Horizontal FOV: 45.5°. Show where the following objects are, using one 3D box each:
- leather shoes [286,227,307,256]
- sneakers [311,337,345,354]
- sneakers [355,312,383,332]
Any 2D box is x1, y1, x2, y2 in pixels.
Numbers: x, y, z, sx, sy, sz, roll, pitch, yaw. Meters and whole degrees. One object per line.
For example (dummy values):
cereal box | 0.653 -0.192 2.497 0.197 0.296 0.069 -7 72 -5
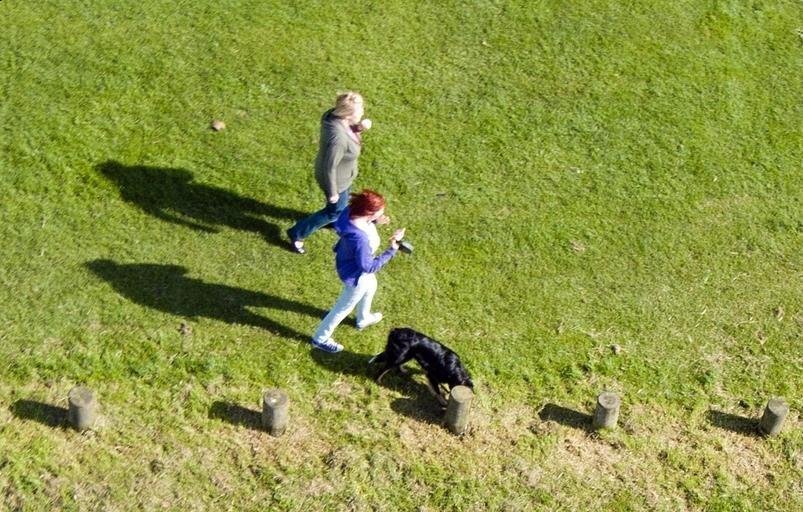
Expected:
leather shoes | -1.850 -0.266 16.683 0.270 0.485 0.207 -18 23 -9
sneakers | -1.244 1.438 15.615 0.594 0.242 0.210 5 65 -12
sneakers | -0.545 1.092 15.939 0.540 0.204 0.194 -25 50 -21
